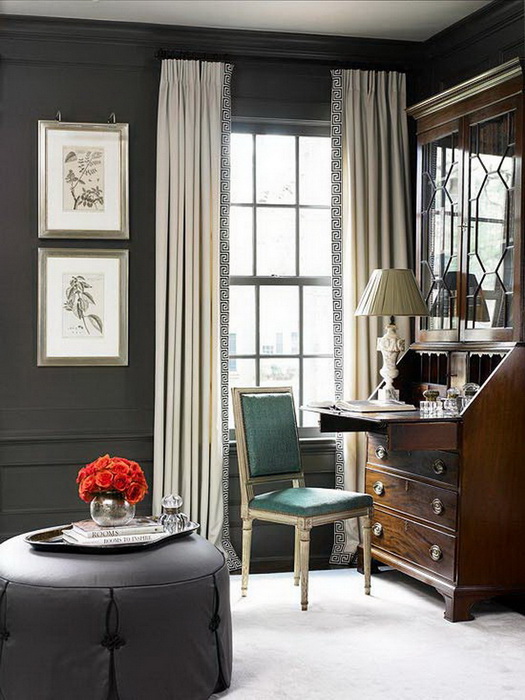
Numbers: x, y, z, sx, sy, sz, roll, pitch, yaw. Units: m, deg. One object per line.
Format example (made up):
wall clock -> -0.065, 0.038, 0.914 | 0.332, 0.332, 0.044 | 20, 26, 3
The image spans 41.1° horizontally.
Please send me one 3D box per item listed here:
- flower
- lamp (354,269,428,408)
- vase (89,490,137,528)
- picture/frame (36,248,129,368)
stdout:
flower -> -0.534, 0.411, 2.427 | 0.201, 0.140, 0.199 | 4, 2, -45
lamp -> 0.647, -0.073, 3.506 | 0.361, 0.642, 0.352 | 2, 1, 16
vase -> -0.524, 0.544, 2.420 | 0.128, 0.105, 0.128 | 1, -11, 2
picture/frame -> -0.999, -0.228, 3.761 | 0.642, 0.829, 0.040 | 1, -1, -12
